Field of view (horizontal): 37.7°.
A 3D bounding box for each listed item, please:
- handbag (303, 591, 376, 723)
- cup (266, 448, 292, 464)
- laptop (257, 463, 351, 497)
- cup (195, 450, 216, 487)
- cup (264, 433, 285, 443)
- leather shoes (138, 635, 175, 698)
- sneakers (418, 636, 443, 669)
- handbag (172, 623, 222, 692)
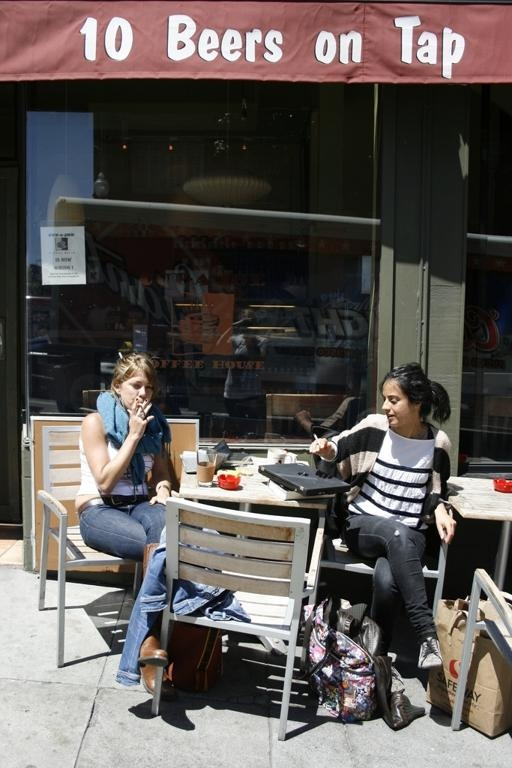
[{"bbox_3d":[0.347,1.113,3.030,0.287,0.424,0.149,4,4,17],"label":"handbag"},{"bbox_3d":[0.125,0.375,3.888,0.106,0.088,0.067,3,3,-11],"label":"cup"},{"bbox_3d":[0.218,0.453,3.510,0.323,0.082,0.447,1,6,-30],"label":"laptop"},{"bbox_3d":[-0.235,0.404,3.598,0.080,0.142,0.139,3,13,-3],"label":"cup"},{"bbox_3d":[0.114,0.324,4.523,0.087,0.035,0.063,1,5,-2],"label":"cup"},{"bbox_3d":[-0.396,1.088,2.884,0.104,0.227,0.304,3,-16,-13],"label":"leather shoes"},{"bbox_3d":[0.681,1.061,2.945,0.054,0.075,0.174,-2,-7,10],"label":"sneakers"},{"bbox_3d":[-0.235,1.116,3.097,0.243,0.305,0.151,2,4,-21],"label":"handbag"}]
